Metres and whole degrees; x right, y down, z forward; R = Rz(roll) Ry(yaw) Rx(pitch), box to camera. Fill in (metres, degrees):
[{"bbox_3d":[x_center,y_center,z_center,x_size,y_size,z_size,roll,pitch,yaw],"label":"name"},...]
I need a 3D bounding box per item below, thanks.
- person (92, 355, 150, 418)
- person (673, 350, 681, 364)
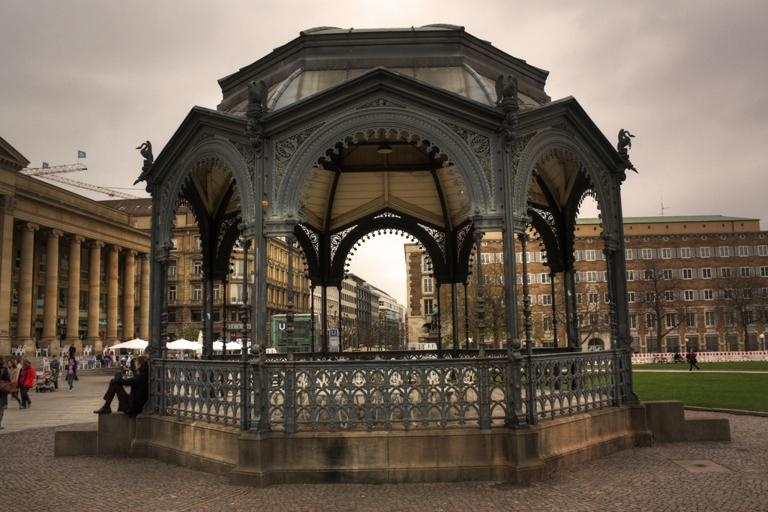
[{"bbox_3d":[-7.532,3.886,25.192,1.311,1.760,0.638,-1,-3,17],"label":"person"},{"bbox_3d":[23.313,8.265,67.848,0.444,0.825,2.596,-1,-3,18],"label":"person"}]
